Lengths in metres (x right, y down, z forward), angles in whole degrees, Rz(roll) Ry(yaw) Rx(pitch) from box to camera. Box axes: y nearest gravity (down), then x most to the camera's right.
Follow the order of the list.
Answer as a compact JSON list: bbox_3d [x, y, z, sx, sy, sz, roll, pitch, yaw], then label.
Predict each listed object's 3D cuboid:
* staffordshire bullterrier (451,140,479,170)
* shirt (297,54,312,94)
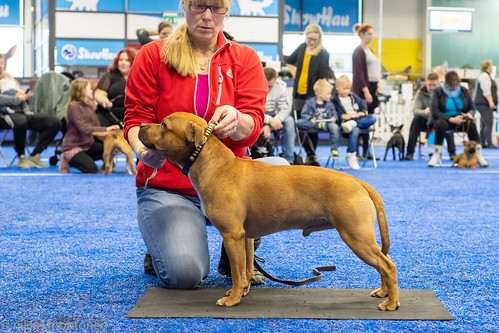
[{"bbox_3d":[6.097,-0.342,27.180,0.707,0.780,0.448,3,4,15],"label":"staffordshire bullterrier"},{"bbox_3d":[1.630,-2.410,26.895,0.325,1.001,1.391,14,9,1],"label":"shirt"}]
